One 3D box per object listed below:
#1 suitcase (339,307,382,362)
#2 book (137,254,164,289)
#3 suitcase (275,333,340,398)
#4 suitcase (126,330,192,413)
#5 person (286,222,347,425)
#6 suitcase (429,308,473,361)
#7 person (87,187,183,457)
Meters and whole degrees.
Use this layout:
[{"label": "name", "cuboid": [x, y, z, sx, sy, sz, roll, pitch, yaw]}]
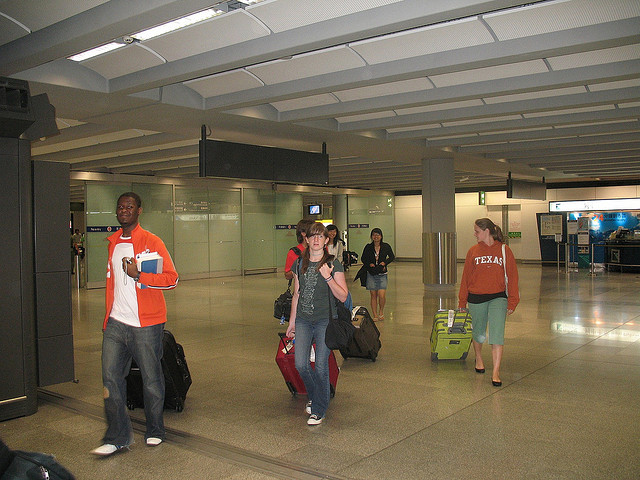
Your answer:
[{"label": "suitcase", "cuboid": [0.852, 1.701, 7.656, 0.646, 0.905, 0.578, -5, -13, 40]}, {"label": "book", "cuboid": [-1.649, 0.292, 4.145, 0.333, 0.305, 0.128, -4, 8, -38]}, {"label": "suitcase", "cuboid": [-0.171, 1.596, 6.019, 0.838, 0.632, 0.997, -1, 29, -27]}, {"label": "suitcase", "cuboid": [-2.027, 1.591, 5.327, 0.659, 1.090, 0.543, 1, 3, 21]}, {"label": "person", "cuboid": [-0.043, 0.947, 4.955, 0.703, 2.306, 0.428, 1, 3, 11]}, {"label": "suitcase", "cuboid": [2.290, 1.484, 7.444, 0.701, 1.045, 0.645, 3, 28, -1]}, {"label": "person", "cuboid": [-1.927, 0.819, 4.400, 0.775, 2.632, 0.723, -1, 3, -28]}]
